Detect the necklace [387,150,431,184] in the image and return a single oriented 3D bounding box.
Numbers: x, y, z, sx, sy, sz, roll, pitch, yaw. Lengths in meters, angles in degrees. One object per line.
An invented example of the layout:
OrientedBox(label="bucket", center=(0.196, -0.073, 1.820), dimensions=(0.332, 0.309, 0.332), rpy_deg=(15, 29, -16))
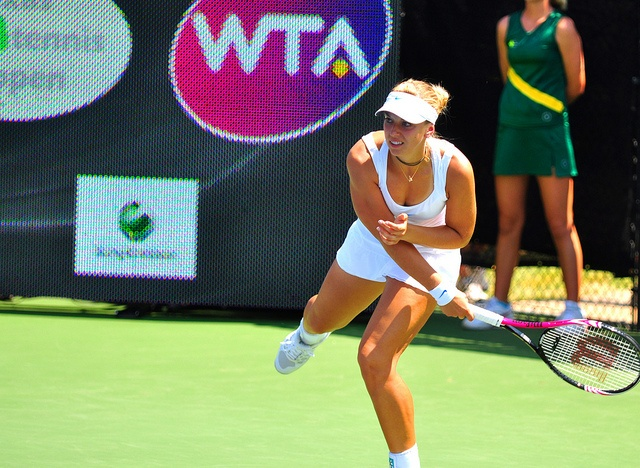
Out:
OrientedBox(label="necklace", center=(0.482, -0.346, 3.385), dimensions=(0.116, 0.178, 0.046), rpy_deg=(5, 49, 9))

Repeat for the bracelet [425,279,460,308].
OrientedBox(label="bracelet", center=(0.617, 0.297, 3.308), dimensions=(0.100, 0.119, 0.122), rpy_deg=(48, 26, -21))
